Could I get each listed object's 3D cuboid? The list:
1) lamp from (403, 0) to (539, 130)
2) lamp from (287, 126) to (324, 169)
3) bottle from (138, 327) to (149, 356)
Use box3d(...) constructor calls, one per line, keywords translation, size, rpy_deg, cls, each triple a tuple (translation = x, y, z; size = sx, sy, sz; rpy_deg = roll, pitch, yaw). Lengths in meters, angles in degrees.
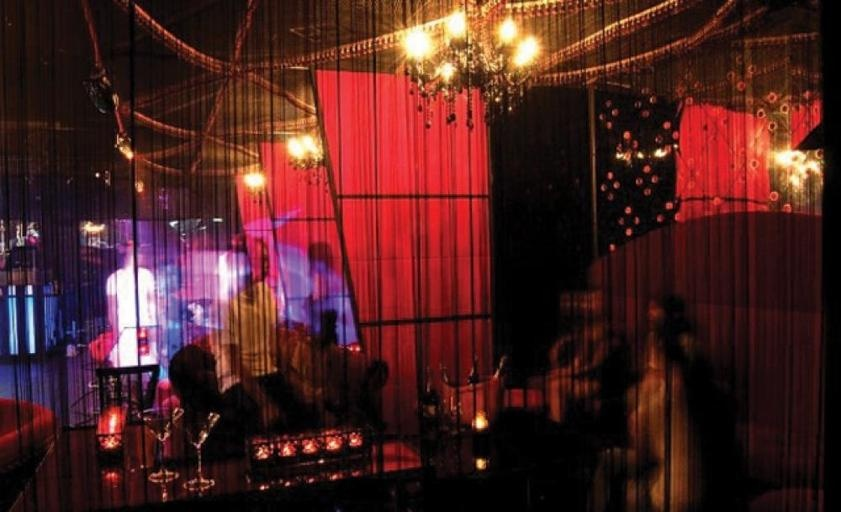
box3d(translation=(0.466, -1.821, 9.139), size=(1.103, 1.222, 0.388), rpy_deg=(0, -17, 1), cls="lamp")
box3d(translation=(-1.039, -1.006, 8.997), size=(0.299, 0.358, 0.146), rpy_deg=(-3, 10, -12), cls="lamp")
box3d(translation=(-2.467, 0.780, 8.756), size=(0.122, 0.219, 0.060), rpy_deg=(-8, 9, -40), cls="bottle")
